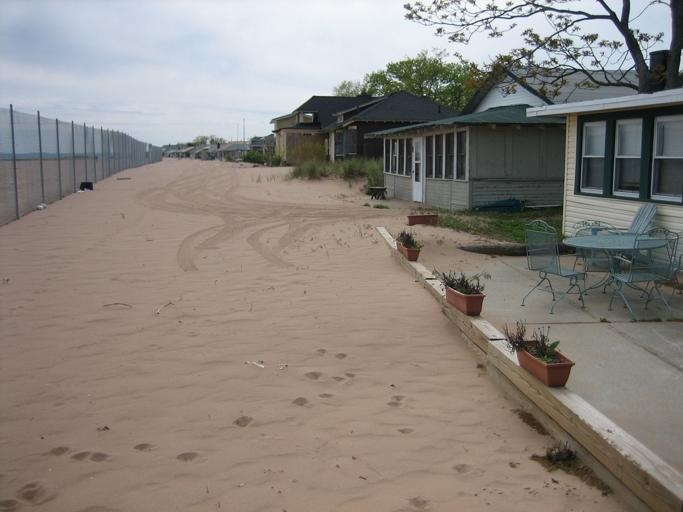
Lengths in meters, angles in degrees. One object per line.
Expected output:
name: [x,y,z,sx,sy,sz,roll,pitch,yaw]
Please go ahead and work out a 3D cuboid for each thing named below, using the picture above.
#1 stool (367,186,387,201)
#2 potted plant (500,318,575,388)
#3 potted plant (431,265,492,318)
stool: [1.609,-2.808,23.369,0.868,0.494,0.812,-3,9,-22]
potted plant: [2.043,1.047,5.438,0.517,0.453,0.969,-4,11,0]
potted plant: [1.874,0.541,8.048,0.475,0.507,1.327,-1,1,-5]
